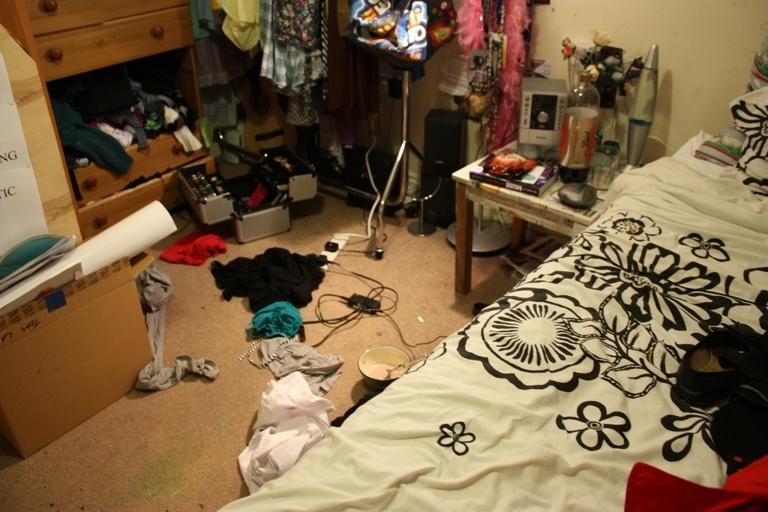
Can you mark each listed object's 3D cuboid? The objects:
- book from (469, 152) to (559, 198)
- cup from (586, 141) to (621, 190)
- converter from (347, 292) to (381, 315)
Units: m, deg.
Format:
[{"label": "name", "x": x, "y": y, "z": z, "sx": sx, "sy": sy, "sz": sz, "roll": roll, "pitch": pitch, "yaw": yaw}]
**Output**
[{"label": "book", "x": 0.703, "y": -0.421, "z": 2.830, "sx": 0.310, "sy": 0.063, "sz": 0.286, "roll": 27, "pitch": 47, "yaw": 35}, {"label": "cup", "x": 1.093, "y": -0.447, "z": 2.790, "sx": 0.130, "sy": 0.209, "sz": 0.215, "roll": 21, "pitch": 49, "yaw": 24}, {"label": "converter", "x": -0.111, "y": 0.276, "z": 3.154, "sx": 0.164, "sy": 0.041, "sz": 0.098, "roll": 18, "pitch": 50, "yaw": 16}]
